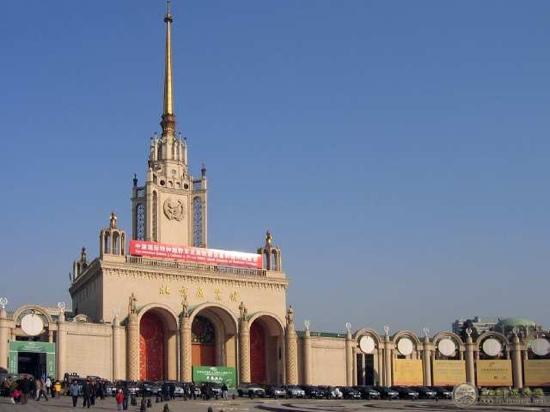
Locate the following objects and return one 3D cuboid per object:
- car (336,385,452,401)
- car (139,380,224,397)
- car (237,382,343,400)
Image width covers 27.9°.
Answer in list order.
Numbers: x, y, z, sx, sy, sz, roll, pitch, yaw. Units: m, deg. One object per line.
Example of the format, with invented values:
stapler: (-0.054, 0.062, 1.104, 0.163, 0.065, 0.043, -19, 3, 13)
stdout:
car: (11.280, 17.501, 103.683, 9.857, 1.442, 2.940, 0, -14, -4)
car: (-8.955, 15.909, 97.206, 8.149, 1.457, 2.844, 0, -14, -19)
car: (1.319, 17.036, 101.826, 8.395, 1.451, 3.611, 5, -15, -22)
